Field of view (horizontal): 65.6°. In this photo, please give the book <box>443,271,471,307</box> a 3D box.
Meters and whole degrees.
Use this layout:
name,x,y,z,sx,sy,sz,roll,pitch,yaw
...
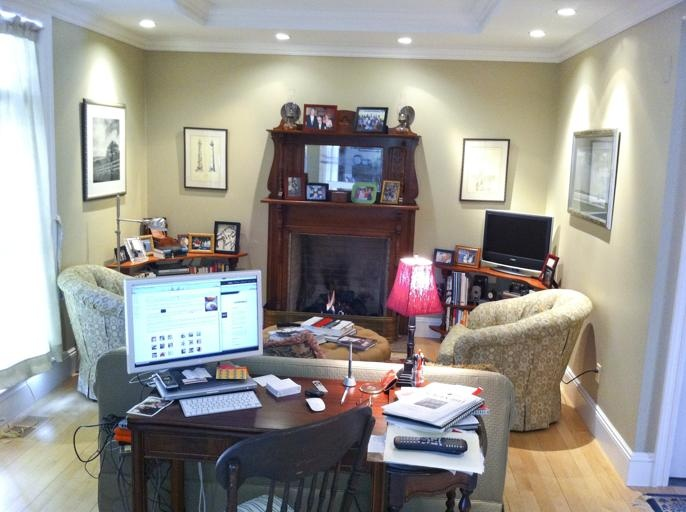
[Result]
name,x,y,z,sx,sy,sz,roll,pitch,yaw
book,1.243,0.353,5.933,0.324,0.470,0.333,2,8,10

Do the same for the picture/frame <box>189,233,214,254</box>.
name,x,y,z,sx,sy,sz,roll,pitch,yaw
picture/frame,-1.633,-0.138,6.185,0.214,0.203,0.015,0,0,-1

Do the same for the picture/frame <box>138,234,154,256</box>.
name,x,y,z,sx,sy,sz,roll,pitch,yaw
picture/frame,-2.167,-0.118,5.938,0.175,0.183,0.182,-18,-15,40

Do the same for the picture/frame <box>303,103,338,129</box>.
name,x,y,z,sx,sy,sz,roll,pitch,yaw
picture/frame,-0.245,-1.535,5.863,0.278,0.248,0.020,1,2,-2

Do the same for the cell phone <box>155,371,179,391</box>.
name,x,y,z,sx,sy,sz,roll,pitch,yaw
cell phone,-0.939,0.666,2.854,0.058,0.035,0.142,-9,24,-25

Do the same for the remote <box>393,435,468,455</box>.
name,x,y,z,sx,sy,sz,roll,pitch,yaw
remote,0.396,0.862,2.431,0.324,0.080,0.118,2,1,2

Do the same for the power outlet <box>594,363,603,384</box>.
name,x,y,z,sx,sy,sz,roll,pitch,yaw
power outlet,2.117,0.977,4.414,0.027,0.193,0.164,2,8,18

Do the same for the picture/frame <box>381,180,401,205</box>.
name,x,y,z,sx,sy,sz,roll,pitch,yaw
picture/frame,0.537,-0.706,5.932,0.230,0.320,0.041,4,-1,4

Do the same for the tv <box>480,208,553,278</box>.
name,x,y,z,sx,sy,sz,roll,pitch,yaw
tv,1.877,-0.123,5.730,0.644,0.623,0.133,12,13,35

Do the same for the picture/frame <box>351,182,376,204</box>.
name,x,y,z,sx,sy,sz,roll,pitch,yaw
picture/frame,0.239,-0.708,5.980,0.239,0.239,0.068,1,-5,7

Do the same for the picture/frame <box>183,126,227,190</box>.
name,x,y,z,sx,sy,sz,roll,pitch,yaw
picture/frame,-1.594,-1.189,6.257,0.671,0.978,0.036,1,7,4

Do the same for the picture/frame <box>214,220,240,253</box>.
name,x,y,z,sx,sy,sz,roll,pitch,yaw
picture/frame,-1.360,-0.218,6.278,0.336,0.439,0.041,-1,-2,0

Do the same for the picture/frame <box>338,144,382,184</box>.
name,x,y,z,sx,sy,sz,roll,pitch,yaw
picture/frame,0.212,-1.060,6.015,0.403,0.362,0.057,1,9,3

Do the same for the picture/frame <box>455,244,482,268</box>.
name,x,y,z,sx,sy,sz,roll,pitch,yaw
picture/frame,1.412,0.008,6.014,0.234,0.220,0.024,6,-2,21

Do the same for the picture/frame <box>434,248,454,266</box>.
name,x,y,z,sx,sy,sz,roll,pitch,yaw
picture/frame,1.144,0.015,6.053,0.170,0.137,0.023,4,4,13

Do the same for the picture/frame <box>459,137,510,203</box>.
name,x,y,z,sx,sy,sz,roll,pitch,yaw
picture/frame,1.616,-1.009,6.031,0.648,0.900,0.030,3,7,2

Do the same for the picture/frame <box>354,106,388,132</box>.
name,x,y,z,sx,sy,sz,roll,pitch,yaw
picture/frame,0.312,-1.497,5.838,0.290,0.230,0.048,1,1,2

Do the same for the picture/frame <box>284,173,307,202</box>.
name,x,y,z,sx,sy,sz,roll,pitch,yaw
picture/frame,-0.539,-0.775,6.009,0.301,0.391,0.030,1,5,-5

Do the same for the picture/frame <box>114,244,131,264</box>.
name,x,y,z,sx,sy,sz,roll,pitch,yaw
picture/frame,-2.280,-0.034,5.551,0.156,0.211,0.072,-5,-23,-13

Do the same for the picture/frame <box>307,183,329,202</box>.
name,x,y,z,sx,sy,sz,roll,pitch,yaw
picture/frame,-0.269,-0.730,6.034,0.294,0.259,0.167,1,10,2
